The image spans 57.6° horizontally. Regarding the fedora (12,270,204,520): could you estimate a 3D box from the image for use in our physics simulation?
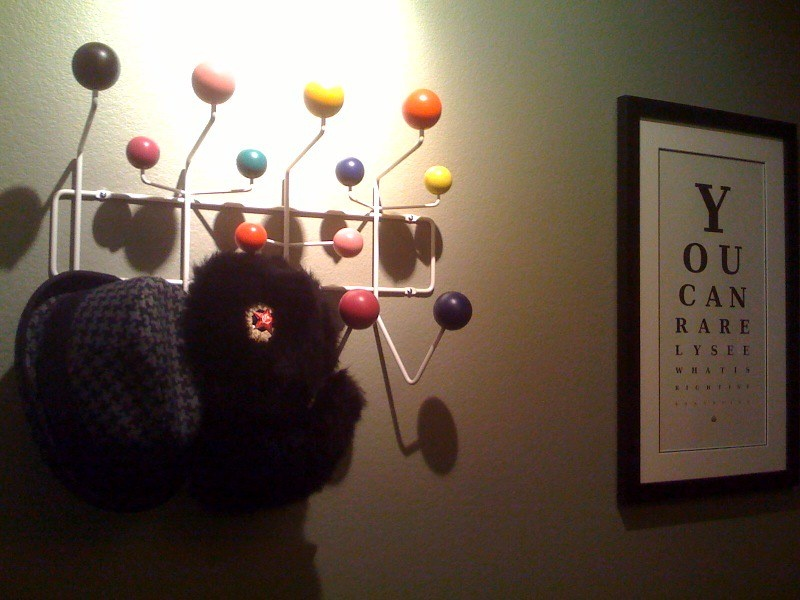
[{"bbox_3d":[-0.541,0.179,1.366,0.340,0.449,0.142,5,5,13],"label":"fedora"}]

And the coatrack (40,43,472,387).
[{"bbox_3d":[-0.262,-0.135,1.487,0.876,0.665,0.339,1,-4,-25],"label":"coatrack"}]

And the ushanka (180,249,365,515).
[{"bbox_3d":[-0.258,0.159,1.391,0.344,0.475,0.174,-11,18,-33],"label":"ushanka"}]
